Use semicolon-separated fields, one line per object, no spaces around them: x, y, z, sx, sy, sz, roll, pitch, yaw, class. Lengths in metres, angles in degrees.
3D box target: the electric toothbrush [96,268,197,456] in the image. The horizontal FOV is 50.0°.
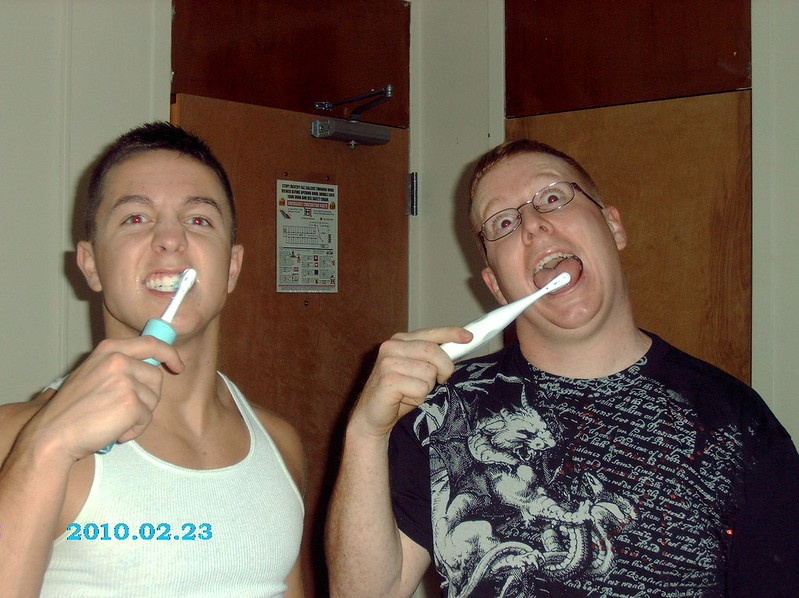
-0.447;0.108;1.525;0.061;0.368;0.049;24;-15;12;electric toothbrush
